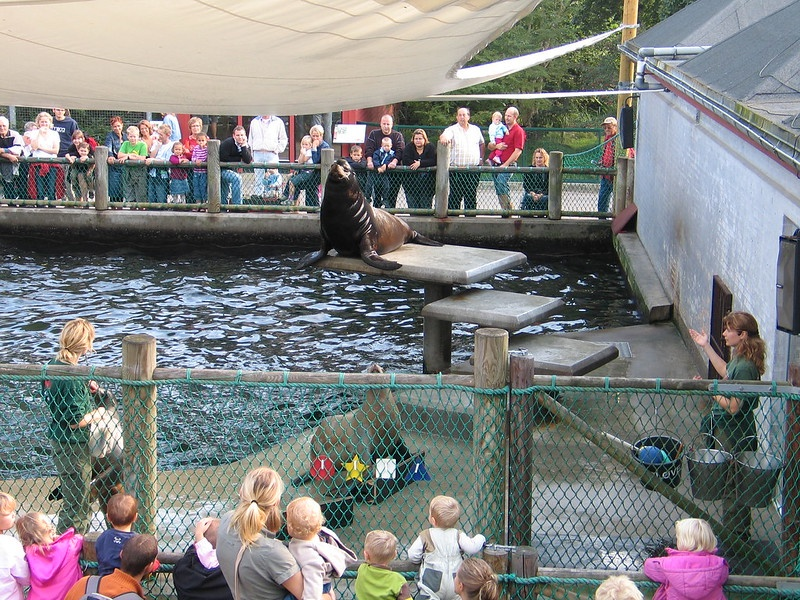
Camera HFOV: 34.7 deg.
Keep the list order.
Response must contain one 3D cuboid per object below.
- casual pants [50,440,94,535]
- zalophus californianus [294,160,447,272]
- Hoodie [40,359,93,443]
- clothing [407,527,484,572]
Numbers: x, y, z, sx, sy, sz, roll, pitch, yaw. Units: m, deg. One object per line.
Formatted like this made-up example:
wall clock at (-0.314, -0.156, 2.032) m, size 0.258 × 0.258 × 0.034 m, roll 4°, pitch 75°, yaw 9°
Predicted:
casual pants at (-2.291, 1.398, 9.106) m, size 0.162 × 0.769 × 0.186 m, roll 10°, pitch 7°, yaw 22°
zalophus californianus at (-0.296, -0.782, 13.637) m, size 0.937 × 0.868 × 1.516 m, roll 10°, pitch -1°, yaw 32°
Hoodie at (-2.269, 0.699, 8.807) m, size 0.297 × 0.568 × 0.541 m, roll -8°, pitch 16°, yaw -38°
clothing at (0.296, 1.563, 8.175) m, size 0.489 × 0.194 × 0.309 m, roll -1°, pitch 27°, yaw -4°
